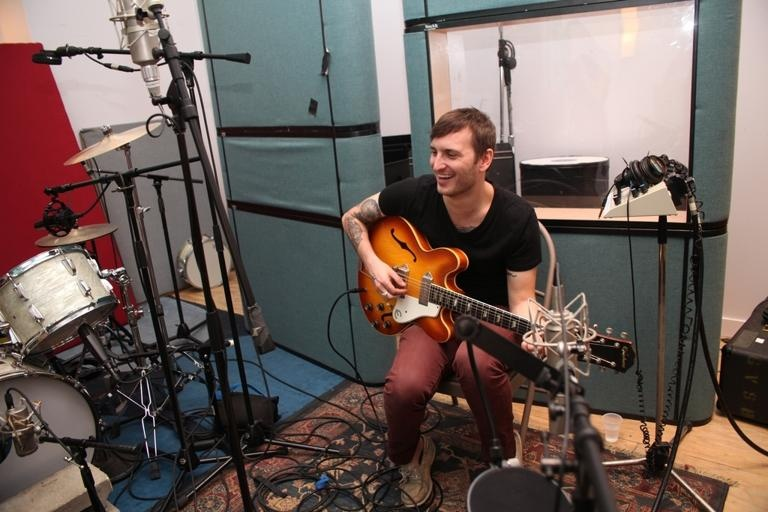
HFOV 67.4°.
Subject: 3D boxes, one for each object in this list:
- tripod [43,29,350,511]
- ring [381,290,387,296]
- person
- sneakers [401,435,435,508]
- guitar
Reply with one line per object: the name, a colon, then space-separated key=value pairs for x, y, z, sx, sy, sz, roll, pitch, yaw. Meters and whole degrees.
tripod: x=-0.967 y=0.082 z=2.905 sx=0.931 sy=2.441 sz=1.641 roll=-15 pitch=23 yaw=-30
ring: x=-0.001 y=0.195 z=3.038 sx=0.029 sy=0.015 sz=0.055 roll=1 pitch=-1 yaw=5
person: x=0.275 y=0.275 z=2.888 sx=0.977 sy=1.903 sz=0.939 roll=2 pitch=20 yaw=14
sneakers: x=0.172 y=1.138 z=3.046 sx=0.146 sy=0.142 sz=0.347 roll=-16 pitch=46 yaw=36
guitar: x=0.563 y=0.166 z=2.838 sx=0.835 sy=0.328 sz=0.116 roll=20 pitch=24 yaw=16
